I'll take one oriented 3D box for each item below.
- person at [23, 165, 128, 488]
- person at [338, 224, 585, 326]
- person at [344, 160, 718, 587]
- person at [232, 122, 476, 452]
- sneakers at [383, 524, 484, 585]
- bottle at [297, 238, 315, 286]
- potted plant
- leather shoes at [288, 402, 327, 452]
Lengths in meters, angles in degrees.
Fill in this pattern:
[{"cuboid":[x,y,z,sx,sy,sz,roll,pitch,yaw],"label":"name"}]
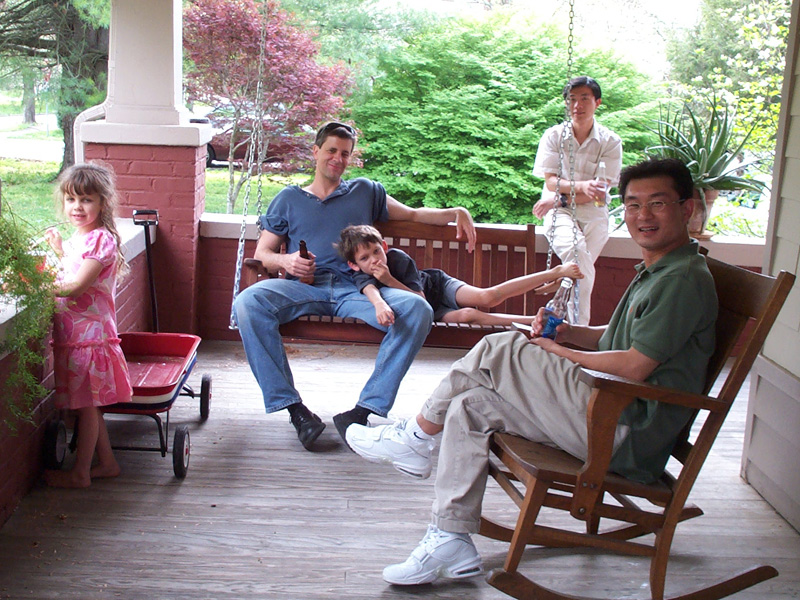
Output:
[{"cuboid":[-1.362,0.105,2.707,0.372,1.328,0.560,-3,16,-12],"label":"person"},{"cuboid":[0.327,-0.088,3.509,1.379,0.548,0.462,3,11,-21],"label":"person"},{"cuboid":[0.464,0.258,2.377,1.317,1.471,0.751,2,-1,16],"label":"person"},{"cuboid":[-0.296,-0.164,3.487,1.161,1.602,1.346,5,14,26],"label":"person"},{"cuboid":[0.123,0.897,2.270,0.438,0.234,0.152,-3,-2,0],"label":"sneakers"},{"cuboid":[-0.501,-0.204,3.392,0.063,0.263,0.071,12,34,29],"label":"bottle"},{"cuboid":[2.422,-1.011,5.178,0.964,0.944,0.978,7,12,6],"label":"potted plant"},{"cuboid":[-0.462,0.614,3.088,0.135,0.110,0.300,39,3,-5],"label":"leather shoes"}]
